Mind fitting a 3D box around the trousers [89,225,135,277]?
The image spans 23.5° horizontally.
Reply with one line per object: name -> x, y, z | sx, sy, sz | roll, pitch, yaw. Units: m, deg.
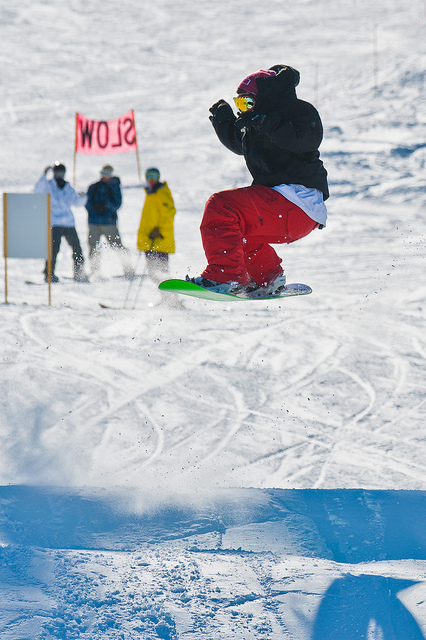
trousers -> -1.257, -0.851, 12.780 | 0.569, 0.674, 1.266 | -1, 7, -5

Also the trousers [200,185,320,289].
trousers -> 0.428, -0.651, 8.335 | 0.905, 0.874, 1.024 | 8, 7, 18

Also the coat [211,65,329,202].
coat -> 0.470, -1.467, 8.058 | 0.858, 1.045, 0.591 | 1, 8, 7

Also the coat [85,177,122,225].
coat -> -1.280, -1.375, 11.996 | 0.457, 0.525, 0.209 | 1, 1, 12

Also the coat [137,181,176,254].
coat -> -0.635, -1.140, 11.522 | 0.438, 0.785, 0.291 | 0, 9, 3

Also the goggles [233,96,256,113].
goggles -> 0.257, -1.706, 8.127 | 0.177, 0.087, 0.134 | 13, -2, -20

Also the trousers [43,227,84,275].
trousers -> -1.750, -0.859, 12.114 | 0.262, 0.462, 0.572 | 4, 8, 25
